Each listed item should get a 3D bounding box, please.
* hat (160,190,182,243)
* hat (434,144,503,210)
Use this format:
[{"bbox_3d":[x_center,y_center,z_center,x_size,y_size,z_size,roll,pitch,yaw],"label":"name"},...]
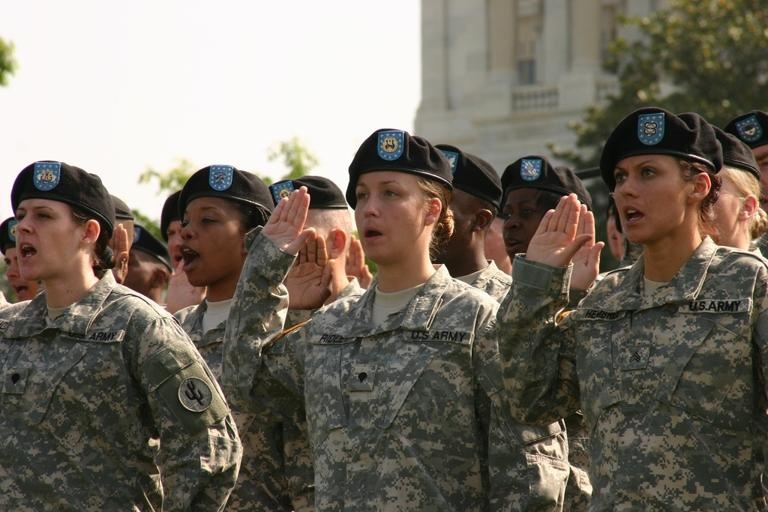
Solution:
[{"bbox_3d":[-1.746,-0.316,11.878,0.155,0.535,0.462,3,-10,-13],"label":"hat"},{"bbox_3d":[0.660,-0.636,11.305,0.564,0.210,0.404,24,-6,-15],"label":"hat"}]
